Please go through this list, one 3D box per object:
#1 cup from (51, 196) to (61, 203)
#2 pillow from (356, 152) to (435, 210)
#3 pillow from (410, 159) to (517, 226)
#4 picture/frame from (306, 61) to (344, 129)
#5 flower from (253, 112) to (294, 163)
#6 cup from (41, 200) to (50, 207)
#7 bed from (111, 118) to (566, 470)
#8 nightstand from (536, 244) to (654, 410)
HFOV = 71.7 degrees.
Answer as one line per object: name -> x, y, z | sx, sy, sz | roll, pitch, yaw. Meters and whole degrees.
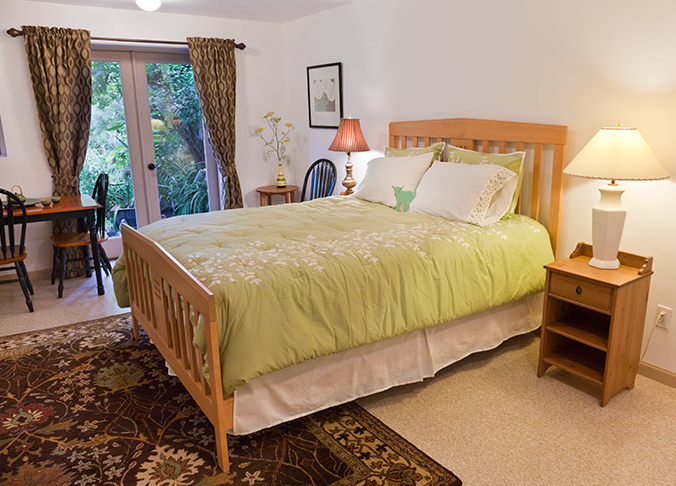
cup -> -2.706, -0.423, 4.460 | 0.065, 0.034, 0.067 | 4, 10, -1
pillow -> 0.486, -0.567, 3.980 | 0.152, 0.498, 0.512 | 24, 1, -36
pillow -> 0.938, -0.378, 3.432 | 0.692, 0.260, 0.498 | 12, 40, 38
picture/frame -> -0.130, -1.703, 5.275 | 0.066, 0.926, 0.840 | -9, 16, -37
flower -> -0.825, -1.347, 5.826 | 0.545, 0.575, 0.243 | -8, 23, -6
cup -> -2.713, -0.365, 4.327 | 0.063, 0.039, 0.063 | 1, 3, 0
bed -> 0.126, 0.167, 3.628 | 2.930, 1.904, 2.168 | -11, 18, -33
nightstand -> 1.624, 0.494, 2.986 | 0.546, 0.868, 0.460 | 16, 23, 42
